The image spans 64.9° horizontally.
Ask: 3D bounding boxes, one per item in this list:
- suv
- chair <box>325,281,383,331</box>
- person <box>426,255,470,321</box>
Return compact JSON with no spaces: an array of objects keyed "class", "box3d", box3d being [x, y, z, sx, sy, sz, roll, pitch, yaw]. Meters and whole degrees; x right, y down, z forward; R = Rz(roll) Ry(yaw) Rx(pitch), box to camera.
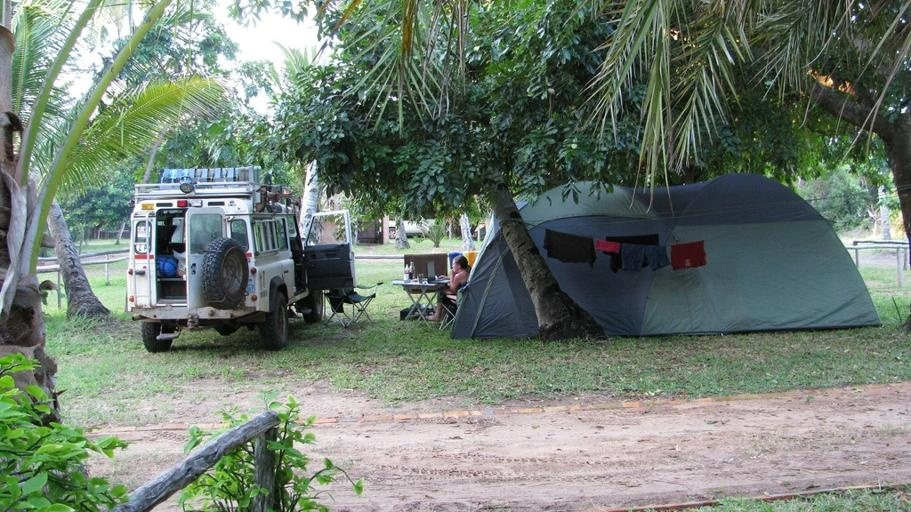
[{"class":"suv","box3d":[-4.506,-0.006,14.497,3.038,3.306,7.530,0,0,2]},{"class":"chair","box3d":[-2.485,1.243,17.005,0.606,0.969,1.290,-5,-1,-29]},{"class":"person","box3d":[-0.128,0.756,15.834,0.997,1.543,0.708,-1,1,-8]}]
